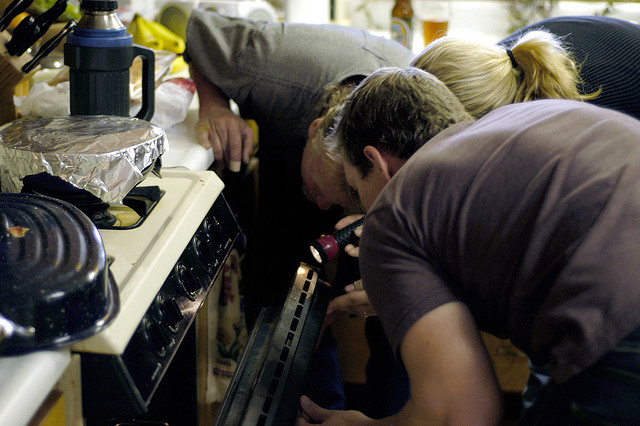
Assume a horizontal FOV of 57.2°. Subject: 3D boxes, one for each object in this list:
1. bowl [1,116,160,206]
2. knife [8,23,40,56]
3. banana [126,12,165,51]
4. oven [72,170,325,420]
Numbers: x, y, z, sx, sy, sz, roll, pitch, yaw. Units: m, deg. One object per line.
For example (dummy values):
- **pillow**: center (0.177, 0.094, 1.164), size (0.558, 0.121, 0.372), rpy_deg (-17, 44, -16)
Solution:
- **bowl**: center (-0.431, -0.120, 1.069), size (0.193, 0.070, 0.211), rpy_deg (10, 31, -6)
- **knife**: center (-0.629, -0.378, 1.239), size (0.027, 0.088, 0.035), rpy_deg (40, 11, -30)
- **banana**: center (-0.566, -0.601, 1.894), size (0.100, 0.106, 0.098), rpy_deg (4, 26, 0)
- **oven**: center (-0.251, 0.168, 1.214), size (0.338, 0.504, 0.509), rpy_deg (1, 28, 7)
